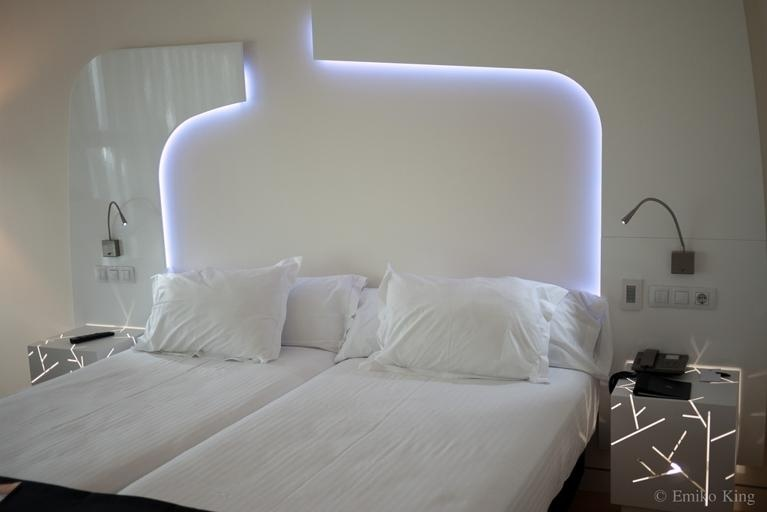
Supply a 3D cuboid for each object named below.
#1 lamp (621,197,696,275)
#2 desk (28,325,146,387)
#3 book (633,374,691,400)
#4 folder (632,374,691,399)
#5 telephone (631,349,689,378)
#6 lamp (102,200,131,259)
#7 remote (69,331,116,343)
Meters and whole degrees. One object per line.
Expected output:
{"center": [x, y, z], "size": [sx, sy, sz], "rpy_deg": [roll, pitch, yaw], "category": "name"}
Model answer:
{"center": [1.582, -0.134, 2.738], "size": [0.378, 0.489, 0.138], "rpy_deg": [13, 52, 41], "category": "lamp"}
{"center": [-2.283, 0.839, 3.712], "size": [0.798, 0.380, 0.820], "rpy_deg": [-9, -10, 27], "category": "desk"}
{"center": [1.437, 0.685, 2.457], "size": [0.184, 0.056, 0.137], "rpy_deg": [3, 16, 24], "category": "book"}
{"center": [1.443, 0.685, 2.457], "size": [0.184, 0.057, 0.137], "rpy_deg": [4, 15, 23], "category": "folder"}
{"center": [1.517, 0.571, 2.633], "size": [0.212, 0.072, 0.170], "rpy_deg": [1, 14, 26], "category": "telephone"}
{"center": [-2.093, -0.203, 3.691], "size": [0.222, 0.440, 0.065], "rpy_deg": [0, 6, 21], "category": "lamp"}
{"center": [-2.181, 0.615, 3.551], "size": [0.102, 0.034, 0.204], "rpy_deg": [0, 2, 36], "category": "remote"}
